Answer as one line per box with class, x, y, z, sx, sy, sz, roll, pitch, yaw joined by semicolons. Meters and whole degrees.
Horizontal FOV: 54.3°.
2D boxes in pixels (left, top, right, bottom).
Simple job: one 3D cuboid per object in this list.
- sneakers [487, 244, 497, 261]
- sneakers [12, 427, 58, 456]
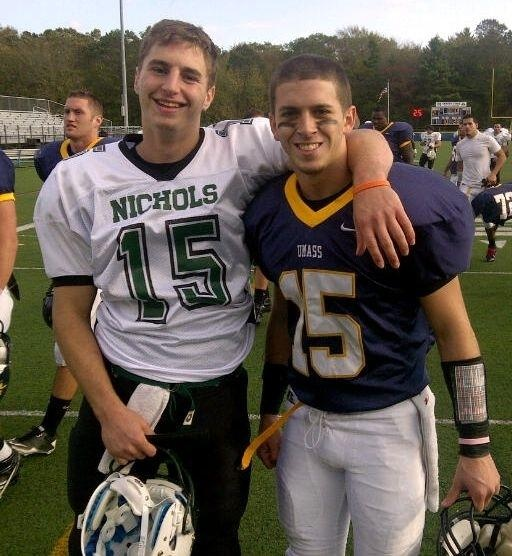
sneakers;3.479;-0.364;7.428;0.118;0.187;0.396;-1;2;10
sneakers;-1.228;0.908;2.846;0.291;0.157;0.108;19;13;-46
